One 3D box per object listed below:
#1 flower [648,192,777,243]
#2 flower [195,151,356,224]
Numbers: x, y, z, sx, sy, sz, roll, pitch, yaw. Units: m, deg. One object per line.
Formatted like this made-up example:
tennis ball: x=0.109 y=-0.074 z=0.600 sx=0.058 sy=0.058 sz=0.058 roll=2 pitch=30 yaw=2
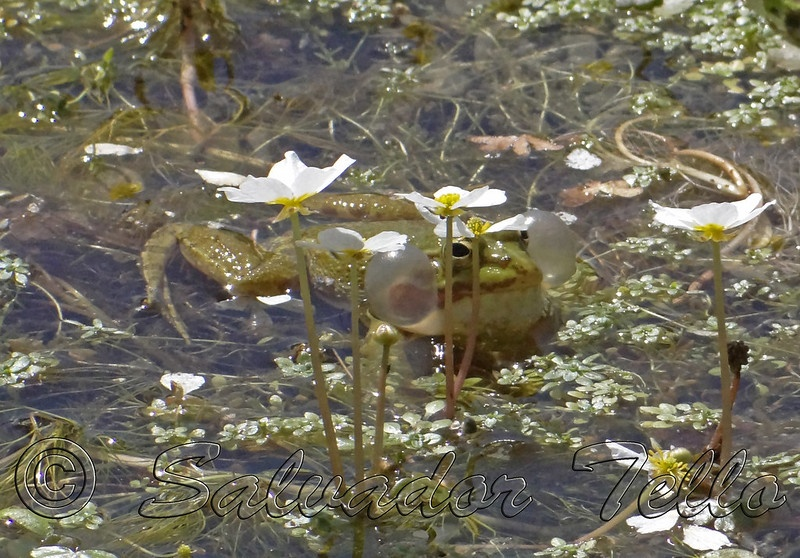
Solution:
flower: x=1.107 y=-0.212 z=2.926 sx=0.336 sy=0.114 sz=0.296 roll=-10 pitch=6 yaw=-32
flower: x=-0.396 y=-0.295 z=2.883 sx=0.344 sy=0.106 sz=0.346 roll=-18 pitch=-6 yaw=16
